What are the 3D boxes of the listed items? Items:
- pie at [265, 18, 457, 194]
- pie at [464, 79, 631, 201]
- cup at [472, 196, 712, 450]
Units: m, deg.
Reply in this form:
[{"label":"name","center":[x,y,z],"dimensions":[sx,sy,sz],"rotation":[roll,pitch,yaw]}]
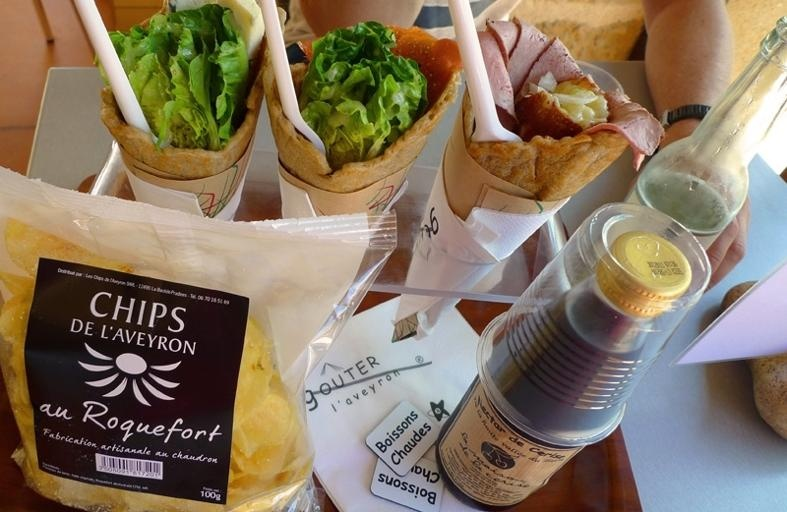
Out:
[{"label":"pie","center":[-0.033,-0.193,0.951],"dimensions":[0.246,0.237,0.241],"rotation":[26,66,-5]},{"label":"pie","center":[0.208,-0.159,0.869],"dimensions":[0.218,0.121,0.131],"rotation":[0,48,-15]},{"label":"cup","center":[0.241,0.079,0.760],"dimensions":[0.238,0.212,0.187],"rotation":[-25,58,-32]}]
